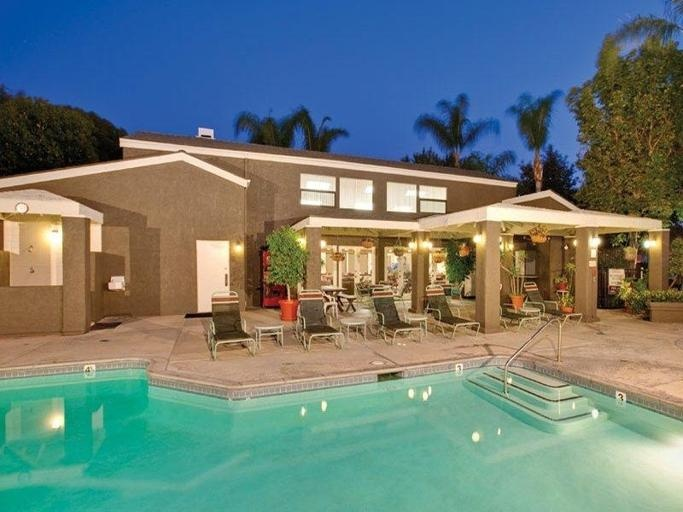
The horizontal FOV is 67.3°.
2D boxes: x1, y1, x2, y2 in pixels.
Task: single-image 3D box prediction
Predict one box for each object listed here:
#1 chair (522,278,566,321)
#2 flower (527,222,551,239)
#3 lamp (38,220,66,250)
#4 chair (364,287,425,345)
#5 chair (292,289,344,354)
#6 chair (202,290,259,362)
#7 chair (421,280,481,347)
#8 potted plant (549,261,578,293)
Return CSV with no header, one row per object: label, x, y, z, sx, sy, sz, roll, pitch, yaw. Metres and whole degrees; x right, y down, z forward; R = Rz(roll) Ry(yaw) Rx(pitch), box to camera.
chair,6.875,1.483,17.474,0.776,1.166,1.592,-2,3,-24
flower,6.083,-0.814,16.253,0.685,0.544,0.719,-1,-1,42
lamp,-9.318,-0.742,16.637,0.534,0.869,1.555,0,-3,-33
chair,1.493,1.661,14.826,0.807,1.474,1.976,-1,0,-17
chair,-0.678,1.785,14.382,0.887,1.314,1.745,-1,10,-18
chair,-3.002,1.877,13.808,0.970,1.576,2.157,-2,4,-20
chair,3.176,1.537,15.450,0.741,1.423,2.178,-1,2,-16
potted plant,9.111,0.937,21.204,1.114,1.688,1.197,3,-4,-5
